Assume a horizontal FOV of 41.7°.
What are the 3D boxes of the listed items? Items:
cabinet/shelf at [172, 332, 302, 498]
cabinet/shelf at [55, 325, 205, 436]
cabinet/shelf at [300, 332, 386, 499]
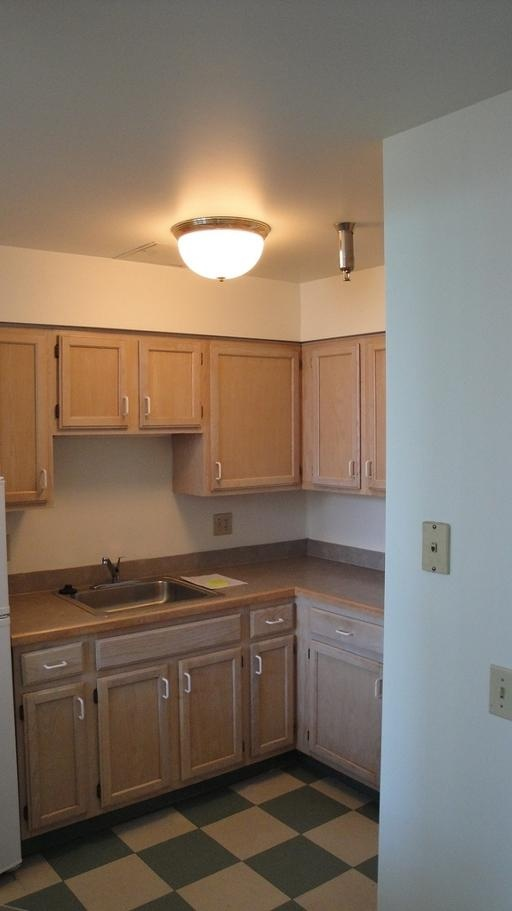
[{"bbox_3d":[-0.116,-0.195,3.169,0.699,0.989,0.421,-1,0,-40],"label":"cabinet/shelf"},{"bbox_3d":[-0.554,-0.313,2.808,0.424,0.303,0.140,0,-2,-36],"label":"cabinet/shelf"},{"bbox_3d":[0.418,-0.202,3.157,0.275,0.769,0.730,0,0,-40],"label":"cabinet/shelf"}]
